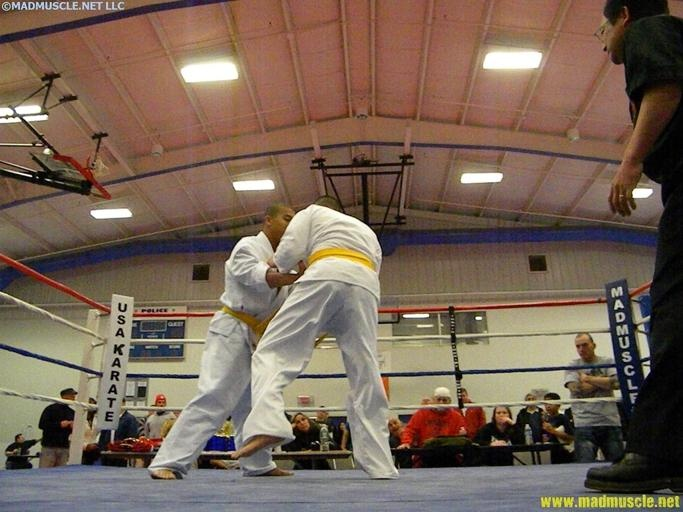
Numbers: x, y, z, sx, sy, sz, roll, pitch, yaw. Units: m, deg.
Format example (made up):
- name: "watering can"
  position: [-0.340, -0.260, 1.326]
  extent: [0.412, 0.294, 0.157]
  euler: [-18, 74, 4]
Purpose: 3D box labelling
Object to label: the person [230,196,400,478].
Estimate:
- name: "person"
  position: [-0.081, 0.350, 2.181]
  extent: [0.754, 1.255, 0.357]
  euler: [23, -33, -39]
